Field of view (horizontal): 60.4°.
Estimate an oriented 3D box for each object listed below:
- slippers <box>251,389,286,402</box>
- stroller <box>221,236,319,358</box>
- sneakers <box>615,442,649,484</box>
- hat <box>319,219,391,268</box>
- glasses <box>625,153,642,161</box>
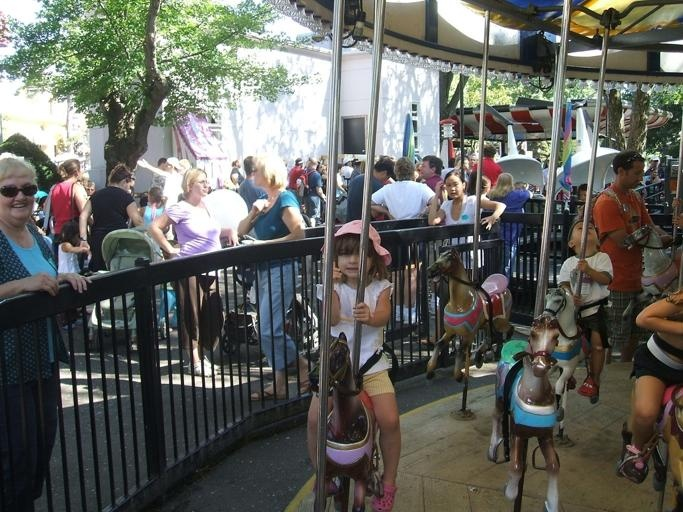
[{"bbox_3d":[-0.718,1.392,5.835,0.347,0.098,0.161,4,-8,-10],"label":"slippers"},{"bbox_3d":[-0.823,0.614,6.612,1.287,1.562,0.914,-1,1,0],"label":"stroller"},{"bbox_3d":[1.945,1.376,3.920,0.198,0.269,0.152,4,11,41],"label":"sneakers"},{"bbox_3d":[0.140,-0.097,4.003,0.298,0.346,0.630,1,10,24],"label":"hat"},{"bbox_3d":[2.904,-0.987,5.807,0.085,0.068,0.115,2,-8,11],"label":"glasses"}]
